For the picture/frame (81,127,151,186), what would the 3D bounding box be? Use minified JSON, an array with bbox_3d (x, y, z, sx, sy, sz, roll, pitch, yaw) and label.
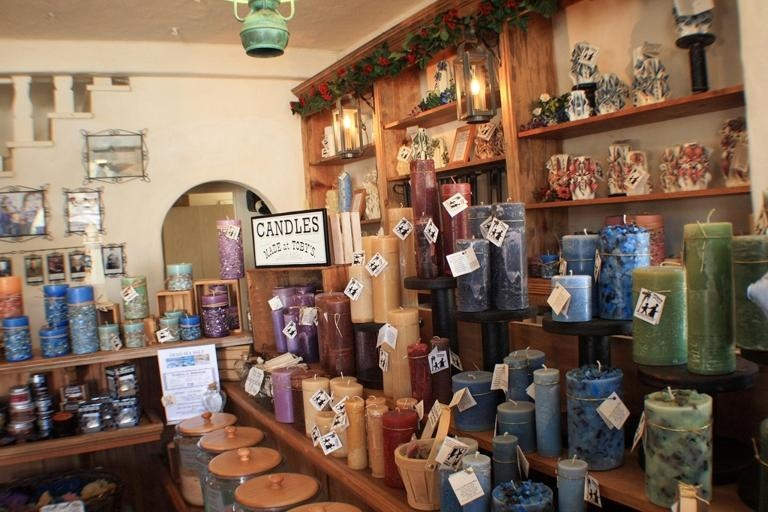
[{"bbox_3d":[-2.565,-0.939,5.131,0.664,0.510,0.031,-2,3,-27],"label":"picture/frame"}]
